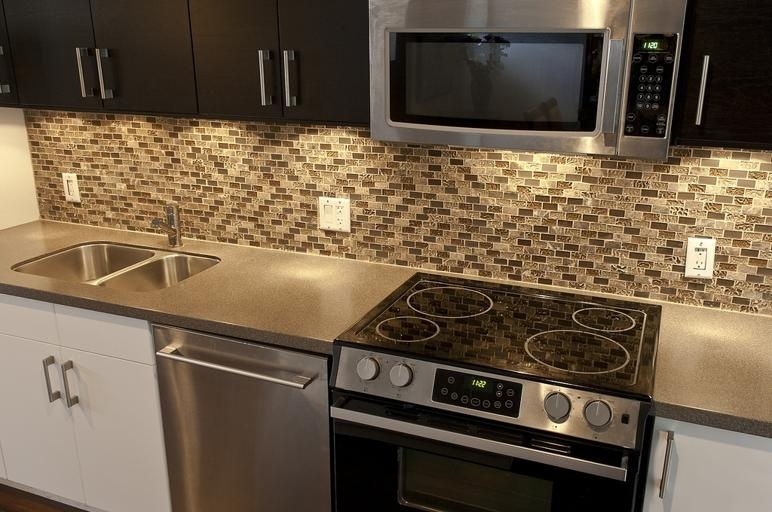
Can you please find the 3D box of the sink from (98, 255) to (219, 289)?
[{"bbox_3d":[-1.185,0.027,3.140,0.506,0.167,0.381,3,13,-4],"label":"sink"}]

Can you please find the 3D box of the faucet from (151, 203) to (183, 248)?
[{"bbox_3d":[-1.092,-0.143,3.018,0.075,0.197,0.169,2,9,31],"label":"faucet"}]

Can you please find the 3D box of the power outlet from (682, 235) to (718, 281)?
[{"bbox_3d":[1.253,0.011,2.424,0.117,0.175,0.031,8,20,23],"label":"power outlet"}]

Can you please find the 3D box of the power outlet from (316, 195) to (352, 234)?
[{"bbox_3d":[-0.240,-0.202,2.854,0.190,0.169,0.025,6,12,20],"label":"power outlet"}]

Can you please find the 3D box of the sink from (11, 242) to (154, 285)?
[{"bbox_3d":[-1.517,0.028,3.019,0.323,0.122,0.318,11,21,28],"label":"sink"}]
